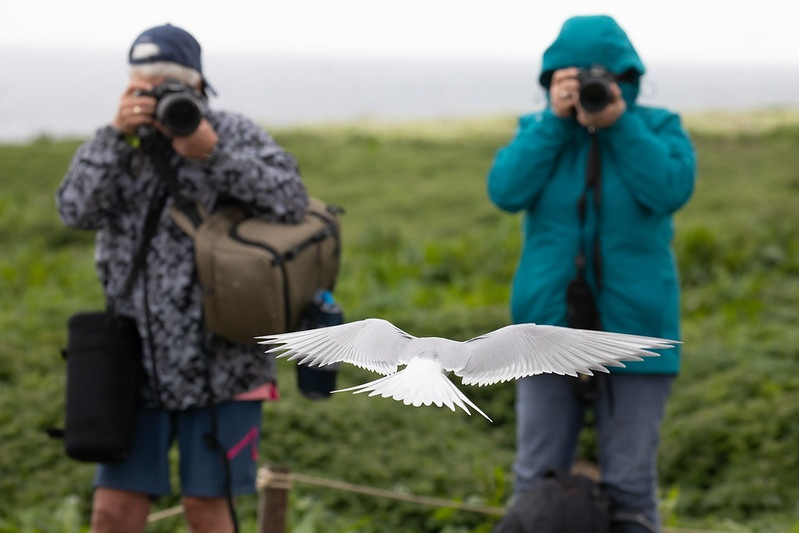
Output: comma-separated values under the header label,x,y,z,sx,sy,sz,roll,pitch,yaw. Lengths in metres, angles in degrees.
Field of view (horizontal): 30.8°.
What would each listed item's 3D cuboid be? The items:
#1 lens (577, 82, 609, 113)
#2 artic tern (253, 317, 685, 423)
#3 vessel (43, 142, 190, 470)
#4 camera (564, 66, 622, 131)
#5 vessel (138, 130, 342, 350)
label,x,y,z,sx,sy,sz,roll,pitch,yaw
lens,1.096,-0.926,8.189,0.167,0.158,0.156,-10,6,10
artic tern,0.320,0.537,7.766,2.034,0.478,0.471,0,6,7
vessel,-1.624,0.320,8.237,0.777,1.462,0.375,-6,-6,19
camera,1.070,-0.926,8.143,0.330,0.140,0.319,8,-17,6
vessel,-1.025,-0.219,8.428,1.266,1.165,0.764,18,38,28
